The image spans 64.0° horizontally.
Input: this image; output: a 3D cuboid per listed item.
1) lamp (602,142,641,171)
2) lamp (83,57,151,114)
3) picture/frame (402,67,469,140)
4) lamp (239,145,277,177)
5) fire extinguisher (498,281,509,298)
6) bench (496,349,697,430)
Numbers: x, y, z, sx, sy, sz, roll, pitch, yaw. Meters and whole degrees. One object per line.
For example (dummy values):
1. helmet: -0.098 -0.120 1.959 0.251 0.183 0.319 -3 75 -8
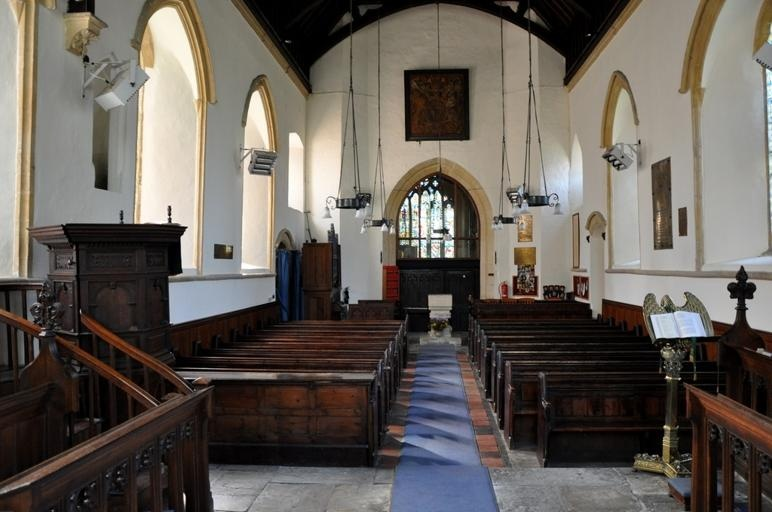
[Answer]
1. lamp: 4.370 -1.839 11.332 0.583 0.501 1.284 0 5 29
2. lamp: -3.318 -2.156 7.694 0.777 0.813 0.583 2 6 -14
3. picture/frame: 1.452 -4.306 17.250 1.751 2.052 0.209 0 0 3
4. lamp: -2.382 -1.772 11.578 0.440 0.506 0.772 1 8 -38
5. fire extinguisher: 3.208 0.926 16.866 0.310 0.426 0.321 0 5 18
6. bench: 2.495 1.704 7.954 1.367 0.667 1.285 0 11 6
